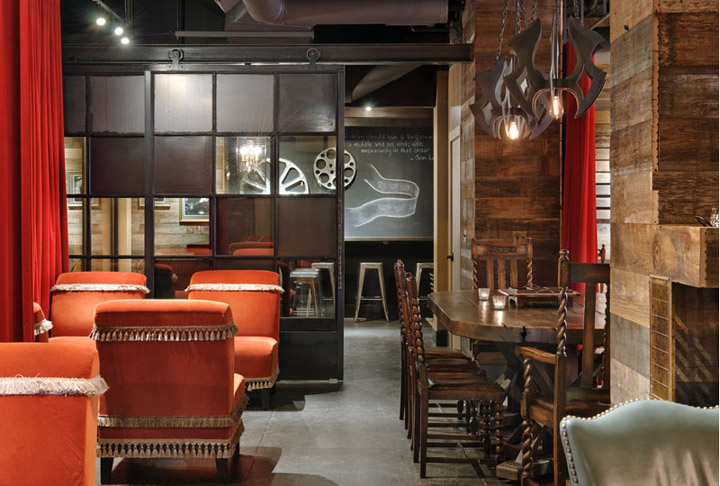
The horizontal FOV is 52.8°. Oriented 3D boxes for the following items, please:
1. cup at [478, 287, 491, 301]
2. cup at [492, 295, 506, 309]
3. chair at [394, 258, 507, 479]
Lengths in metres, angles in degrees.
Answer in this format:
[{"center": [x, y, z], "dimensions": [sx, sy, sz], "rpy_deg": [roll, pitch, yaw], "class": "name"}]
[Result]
[{"center": [0.938, 0.382, 5.471], "dimensions": [0.082, 0.079, 0.074], "rpy_deg": [0, 1, -1], "class": "cup"}, {"center": [0.963, 0.405, 4.991], "dimensions": [0.092, 0.074, 0.082], "rpy_deg": [-1, -1, 2], "class": "cup"}, {"center": [0.679, 0.936, 5.285], "dimensions": [0.507, 0.957, 1.376], "rpy_deg": [-1, 1, -3], "class": "chair"}]
